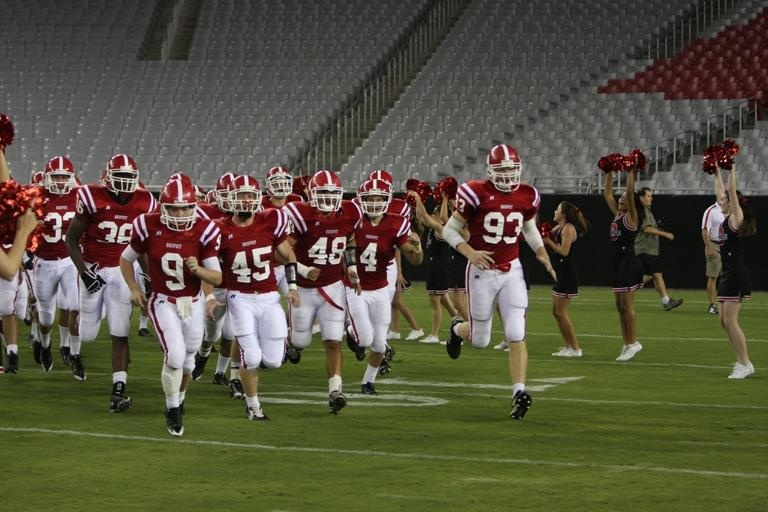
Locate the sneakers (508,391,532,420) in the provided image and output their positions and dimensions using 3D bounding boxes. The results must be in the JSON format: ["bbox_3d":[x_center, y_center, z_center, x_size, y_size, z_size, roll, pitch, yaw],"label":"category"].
[{"bbox_3d":[1.340,1.452,10.496,0.149,0.332,0.169,13,30,-8],"label":"sneakers"}]

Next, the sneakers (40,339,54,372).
[{"bbox_3d":[-4.003,1.175,12.794,0.128,0.359,0.156,-5,-3,-29],"label":"sneakers"}]

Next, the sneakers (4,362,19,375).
[{"bbox_3d":[-4.335,1.293,12.567,0.115,0.122,0.304,3,-9,-31],"label":"sneakers"}]

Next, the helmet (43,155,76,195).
[{"bbox_3d":[-3.872,-0.951,12.911,0.389,0.380,0.496,1,4,-16],"label":"helmet"}]

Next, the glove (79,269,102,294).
[{"bbox_3d":[-3.057,0.259,11.318,0.107,0.228,0.236,-38,-36,6],"label":"glove"}]

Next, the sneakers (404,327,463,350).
[{"bbox_3d":[0.622,0.906,12.164,0.618,0.246,0.197,7,5,-10],"label":"sneakers"}]

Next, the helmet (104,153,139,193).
[{"bbox_3d":[-2.693,-0.844,11.316,0.354,0.341,0.453,1,6,-20],"label":"helmet"}]

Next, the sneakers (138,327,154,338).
[{"bbox_3d":[-3.469,1.109,15.719,0.107,0.112,0.313,1,-3,-43],"label":"sneakers"}]

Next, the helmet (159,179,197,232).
[{"bbox_3d":[-1.955,-0.525,10.194,0.369,0.384,0.494,2,40,-21],"label":"helmet"}]

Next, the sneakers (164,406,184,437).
[{"bbox_3d":[-1.954,1.514,10.130,0.161,0.272,0.311,-1,6,-11],"label":"sneakers"}]

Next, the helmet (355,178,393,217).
[{"bbox_3d":[-0.093,-0.611,11.459,0.346,0.315,0.411,0,-2,1],"label":"helmet"}]

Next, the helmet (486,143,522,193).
[{"bbox_3d":[1.297,-0.913,11.081,0.381,0.402,0.478,-2,13,-6],"label":"helmet"}]

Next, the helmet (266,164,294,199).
[{"bbox_3d":[-1.237,-0.897,13.316,0.346,0.325,0.421,0,2,-22],"label":"helmet"}]

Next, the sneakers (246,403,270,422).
[{"bbox_3d":[-1.225,1.522,10.559,0.110,0.089,0.232,2,-4,-41],"label":"sneakers"}]

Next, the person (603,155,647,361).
[{"bbox_3d":[3.034,-0.018,13.758,0.559,2.644,0.865,2,7,13],"label":"person"}]

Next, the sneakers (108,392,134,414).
[{"bbox_3d":[-2.585,1.465,10.810,0.321,0.195,0.103,-2,3,-8],"label":"sneakers"}]
